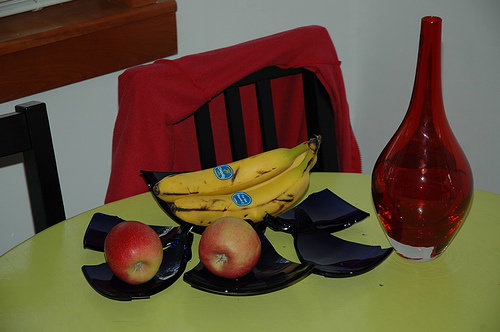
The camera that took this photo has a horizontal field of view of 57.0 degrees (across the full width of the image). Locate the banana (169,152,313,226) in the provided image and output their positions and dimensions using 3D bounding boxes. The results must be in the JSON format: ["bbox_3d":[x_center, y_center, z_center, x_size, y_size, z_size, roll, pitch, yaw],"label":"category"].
[{"bbox_3d":[-0.008,0.056,1.047,0.335,0.178,0.076,-9,7,-13],"label":"banana"}]

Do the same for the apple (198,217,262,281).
[{"bbox_3d":[-0.043,0.173,0.969,0.139,0.145,0.135,-6,5,-24],"label":"apple"}]

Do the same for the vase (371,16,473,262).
[{"bbox_3d":[0.348,-0.040,0.916,0.193,0.480,0.095,7,20,25],"label":"vase"}]

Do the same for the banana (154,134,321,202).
[{"bbox_3d":[-0.044,0.006,1.143,0.298,0.116,0.055,-15,42,-17],"label":"banana"}]

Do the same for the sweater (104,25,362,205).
[{"bbox_3d":[-0.066,-0.141,1.300,0.374,0.577,0.335,-15,37,-10],"label":"sweater"}]

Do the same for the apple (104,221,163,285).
[{"bbox_3d":[-0.242,0.190,0.952,0.113,0.145,0.116,-26,-32,34],"label":"apple"}]
